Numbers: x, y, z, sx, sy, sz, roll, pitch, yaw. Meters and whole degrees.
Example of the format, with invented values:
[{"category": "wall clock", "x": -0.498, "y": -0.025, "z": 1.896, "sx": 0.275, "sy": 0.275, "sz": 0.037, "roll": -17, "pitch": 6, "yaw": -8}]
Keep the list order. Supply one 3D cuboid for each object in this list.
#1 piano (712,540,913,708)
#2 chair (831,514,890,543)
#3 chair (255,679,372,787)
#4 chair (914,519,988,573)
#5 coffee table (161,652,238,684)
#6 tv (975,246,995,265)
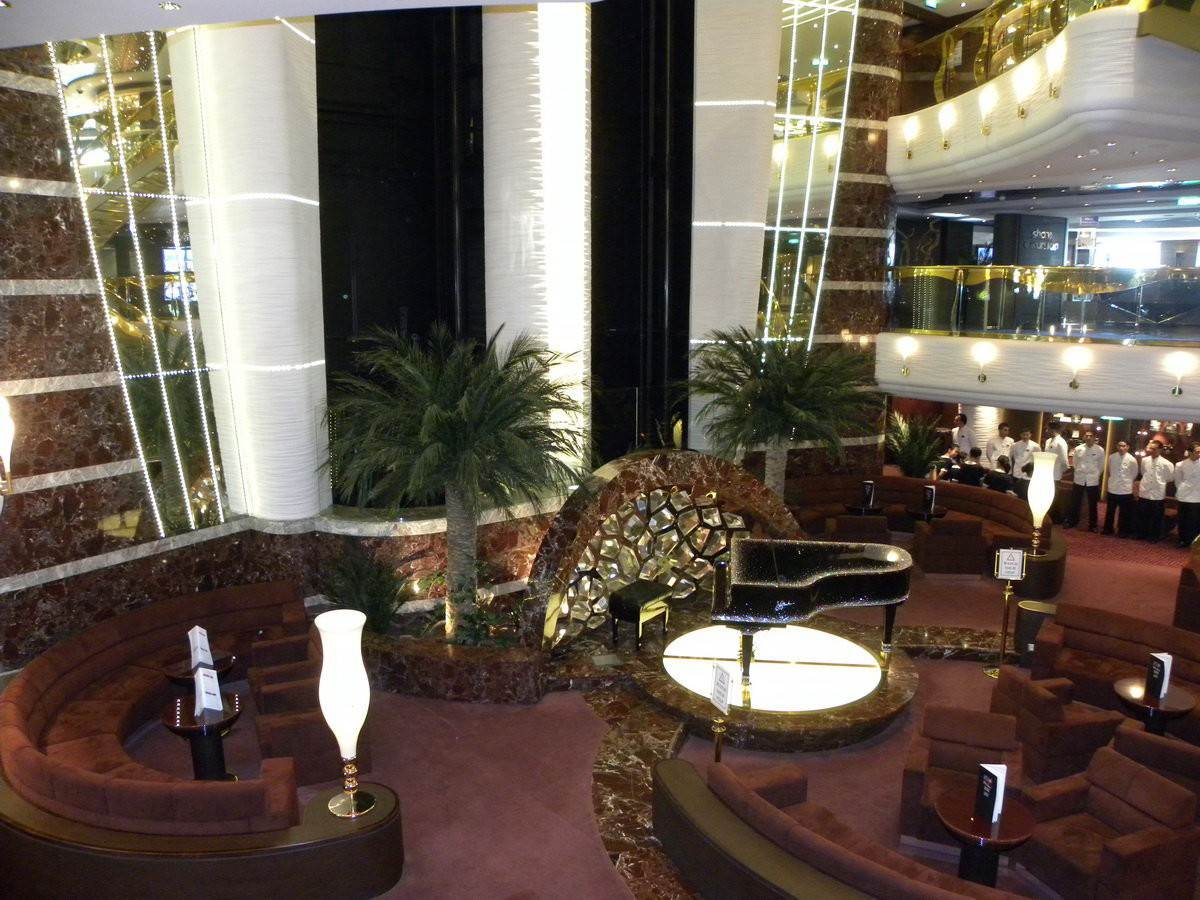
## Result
[{"category": "piano", "x": 2.070, "y": 1.743, "z": 8.819, "sx": 1.955, "sy": 1.055, "sz": 1.417, "roll": 0, "pitch": 16, "yaw": 1}, {"category": "chair", "x": 3.695, "y": 1.125, "z": 12.581, "sx": 0.623, "sy": 0.405, "sz": 0.415, "roll": 2, "pitch": 16, "yaw": 12}, {"category": "chair", "x": -2.526, "y": 2.444, "z": 7.797, "sx": 0.886, "sy": 0.655, "sz": 0.916, "roll": 5, "pitch": 10, "yaw": 38}, {"category": "chair", "x": 4.923, "y": 1.327, "z": 12.556, "sx": 0.869, "sy": 0.809, "sz": 0.789, "roll": 4, "pitch": 13, "yaw": 12}, {"category": "coffee table", "x": -3.569, "y": 1.930, "z": 7.797, "sx": 0.576, "sy": 0.171, "sz": 0.550, "roll": 1, "pitch": 5, "yaw": -3}, {"category": "tv", "x": 9.174, "y": -4.747, "z": 21.241, "sx": 0.375, "sy": 0.413, "sz": 1.170, "roll": 2, "pitch": 14, "yaw": 17}]
